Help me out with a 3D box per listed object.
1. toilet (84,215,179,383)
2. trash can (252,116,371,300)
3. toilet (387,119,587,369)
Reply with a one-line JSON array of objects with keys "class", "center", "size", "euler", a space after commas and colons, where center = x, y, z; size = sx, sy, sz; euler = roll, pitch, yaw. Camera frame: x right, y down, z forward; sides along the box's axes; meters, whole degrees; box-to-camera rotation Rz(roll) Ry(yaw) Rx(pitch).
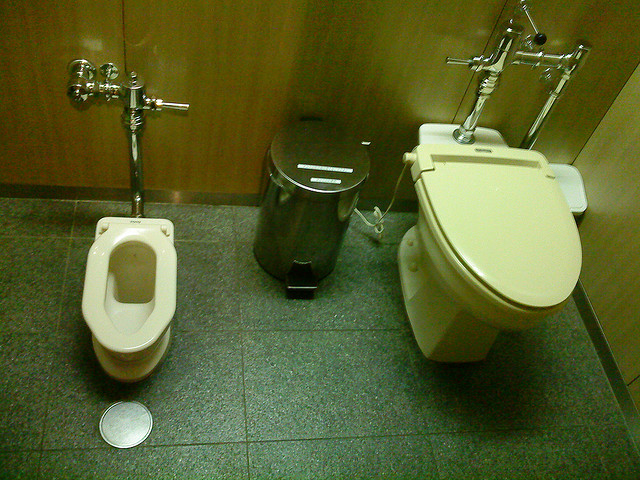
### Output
[{"class": "toilet", "center": [-0.587, 0.160, 1.745], "size": [0.331, 0.531, 0.552], "euler": [2, 68, -15]}, {"class": "trash can", "center": [-0.045, -0.117, 1.874], "size": [0.335, 0.507, 0.439], "euler": [8, 57, -7]}, {"class": "toilet", "center": [0.561, 0.031, 1.796], "size": [0.509, 0.713, 0.774], "euler": [-4, 56, -2]}]
